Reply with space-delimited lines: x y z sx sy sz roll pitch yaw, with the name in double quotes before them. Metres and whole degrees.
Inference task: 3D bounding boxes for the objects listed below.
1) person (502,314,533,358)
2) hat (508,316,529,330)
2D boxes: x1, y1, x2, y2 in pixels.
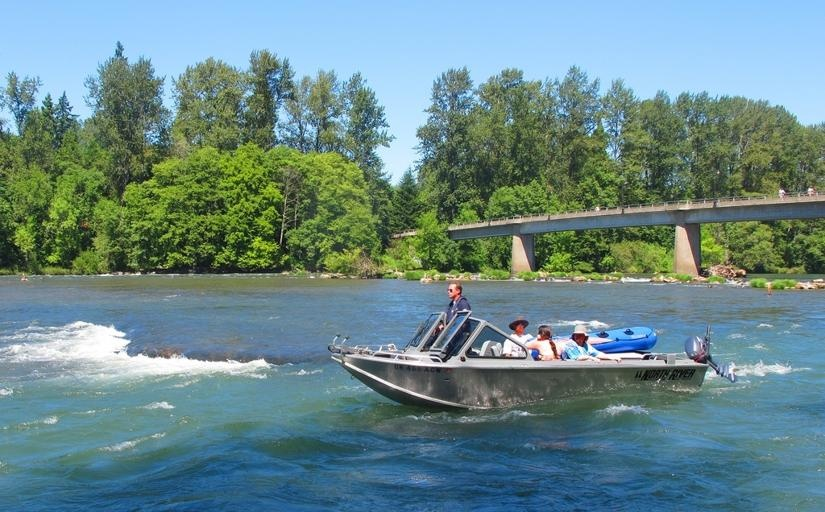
"person" 3.801 2.878 26.708 1.499 1.616 0.948 -4 7 -6
"hat" 4.423 2.766 31.486 0.965 0.277 0.980 -8 -28 -10
